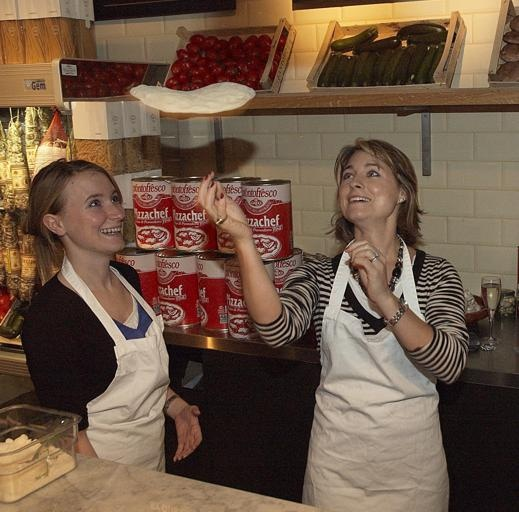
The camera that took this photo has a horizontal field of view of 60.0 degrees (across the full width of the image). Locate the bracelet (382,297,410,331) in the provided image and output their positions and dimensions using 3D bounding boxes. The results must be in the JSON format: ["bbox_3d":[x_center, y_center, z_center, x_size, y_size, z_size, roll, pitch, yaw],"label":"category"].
[{"bbox_3d":[0.290,0.131,0.978,0.022,0.073,0.073,36,32,-13],"label":"bracelet"}]

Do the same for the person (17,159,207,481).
[{"bbox_3d":[-0.442,0.190,1.246,0.347,0.896,0.422,-6,16,-15],"label":"person"}]

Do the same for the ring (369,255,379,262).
[{"bbox_3d":[0.240,0.006,0.937,0.013,0.010,0.012,-1,1,-7],"label":"ring"}]

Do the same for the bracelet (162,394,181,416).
[{"bbox_3d":[-0.290,0.469,1.413,0.063,0.054,0.061,17,-21,-24],"label":"bracelet"}]

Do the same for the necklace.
[{"bbox_3d":[0.346,0.019,1.244,0.147,0.147,0.045,-2,-11,14],"label":"necklace"}]

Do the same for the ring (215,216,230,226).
[{"bbox_3d":[-0.079,-0.078,0.970,0.014,0.020,0.022,32,23,18],"label":"ring"}]

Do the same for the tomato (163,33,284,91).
[{"bbox_3d":[-0.205,-0.977,2.250,0.522,0.332,0.371,0,14,7],"label":"tomato"}]

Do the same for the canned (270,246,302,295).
[{"bbox_3d":[0.064,0.060,1.747,0.172,0.146,0.150,0,2,-1],"label":"canned"}]
